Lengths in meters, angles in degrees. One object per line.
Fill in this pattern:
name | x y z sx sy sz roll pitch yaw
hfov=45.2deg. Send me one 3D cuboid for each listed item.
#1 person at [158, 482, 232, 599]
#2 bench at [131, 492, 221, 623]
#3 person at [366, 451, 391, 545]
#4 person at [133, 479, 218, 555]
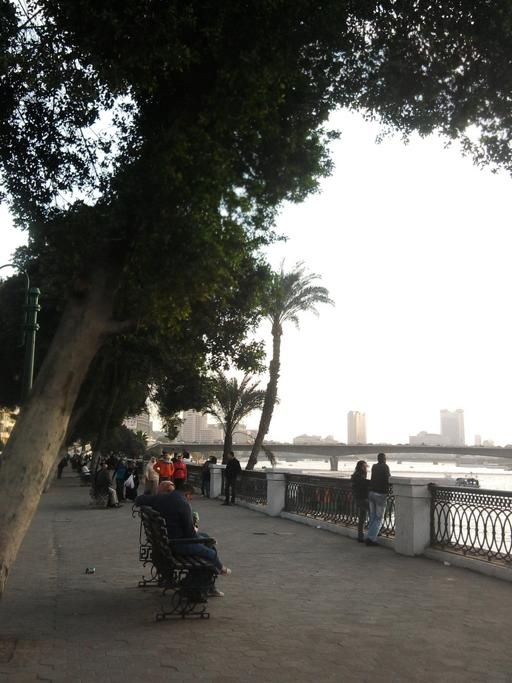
person | -0.697 2.253 7.044 0.679 1.352 0.520 2 -5 -28
bench | -0.848 2.261 6.685 0.830 1.222 1.494 6 -10 -11
person | 2.309 2.944 11.515 0.396 1.691 0.780 4 -9 -3
person | -0.841 2.146 7.117 0.786 1.013 0.842 3 -7 -8
